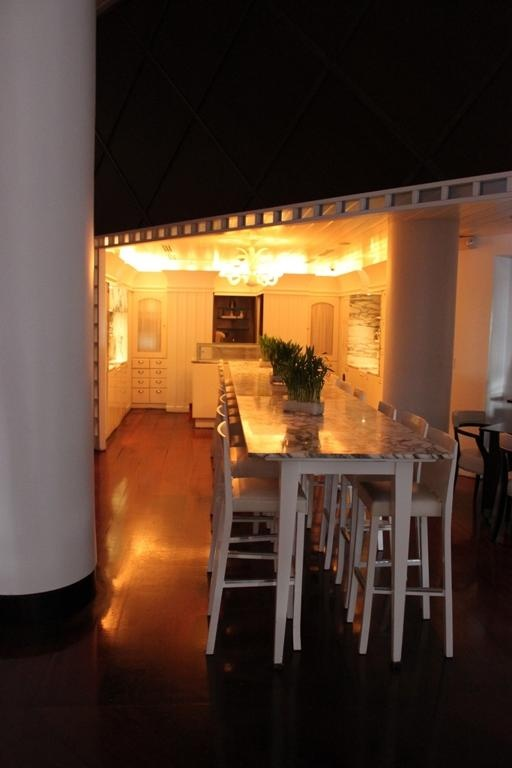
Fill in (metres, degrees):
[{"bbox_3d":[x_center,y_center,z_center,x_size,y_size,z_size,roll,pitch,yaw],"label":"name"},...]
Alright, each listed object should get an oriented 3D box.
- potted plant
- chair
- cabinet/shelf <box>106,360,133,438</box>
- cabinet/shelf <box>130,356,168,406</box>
[{"bbox_3d":[0.254,-0.142,3.884,0.284,0.517,1.235,1,18,-8],"label":"potted plant"},{"bbox_3d":[0.327,0.640,3.090,1.190,1.173,2.063,1,3,-5],"label":"chair"},{"bbox_3d":[-2.264,0.194,8.431,0.300,1.032,3.455,0,3,-14],"label":"cabinet/shelf"},{"bbox_3d":[-2.212,-0.096,10.900,0.813,1.645,0.795,0,6,-7],"label":"cabinet/shelf"}]
